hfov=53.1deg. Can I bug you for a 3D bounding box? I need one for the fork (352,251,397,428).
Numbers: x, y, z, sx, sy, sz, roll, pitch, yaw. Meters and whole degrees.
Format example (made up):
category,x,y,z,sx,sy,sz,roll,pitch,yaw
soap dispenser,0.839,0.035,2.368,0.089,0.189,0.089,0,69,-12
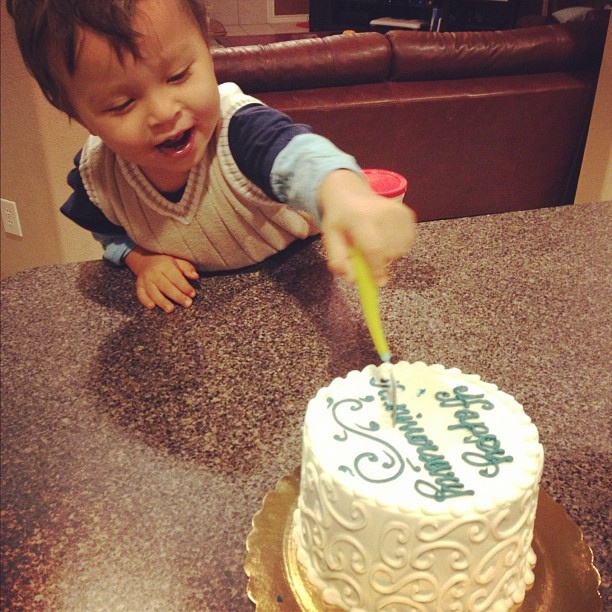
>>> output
category,x,y,z,sx,sy,sz,roll,pitch,yaw
fork,0.089,0.051,0.794,0.033,0.227,0.036,-19,7,1
